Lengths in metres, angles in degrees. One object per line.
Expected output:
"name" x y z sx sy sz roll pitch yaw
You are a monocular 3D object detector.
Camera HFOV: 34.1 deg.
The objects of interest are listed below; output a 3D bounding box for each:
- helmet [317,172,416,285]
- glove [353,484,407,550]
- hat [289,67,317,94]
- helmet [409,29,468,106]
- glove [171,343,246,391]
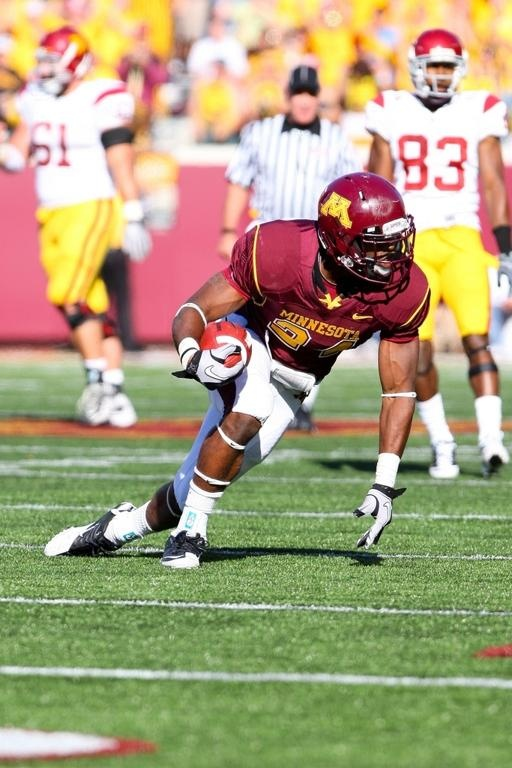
"helmet" 0.270 -0.388 2.063 0.235 0.247 0.178 2 1 2
"glove" 0.304 0.315 2.090 0.128 0.054 0.182 35 26 -5
"hat" 0.283 -1.797 4.900 0.148 0.168 0.155 4 -4 -3
"helmet" 0.856 -1.524 4.028 0.321 0.325 0.357 -1 12 -5
"glove" -0.080 -0.045 2.070 0.143 0.087 0.232 2 1 41
